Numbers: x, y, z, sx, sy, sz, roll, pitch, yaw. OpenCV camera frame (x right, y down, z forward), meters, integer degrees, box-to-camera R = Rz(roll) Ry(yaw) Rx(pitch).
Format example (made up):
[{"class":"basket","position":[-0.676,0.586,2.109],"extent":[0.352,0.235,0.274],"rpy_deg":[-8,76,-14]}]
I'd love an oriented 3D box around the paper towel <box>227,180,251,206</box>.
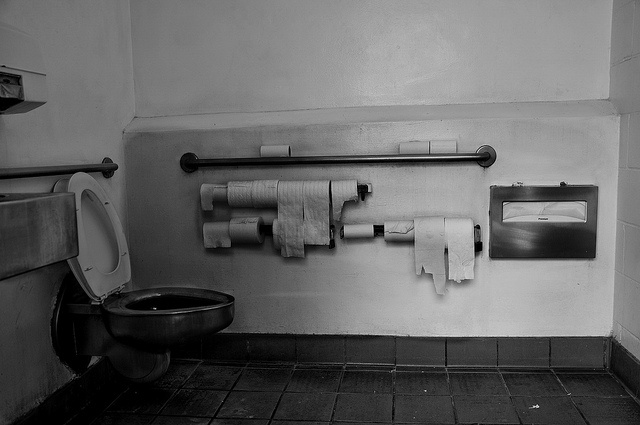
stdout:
[{"class":"paper towel","position":[-0.468,-0.104,3.283],"extent":[0.161,0.154,0.130],"rpy_deg":[1,-4,-2]}]

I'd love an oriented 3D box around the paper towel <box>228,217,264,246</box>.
[{"class":"paper towel","position":[-0.444,0.105,3.320],"extent":[0.182,0.159,0.154],"rpy_deg":[-3,18,10]}]

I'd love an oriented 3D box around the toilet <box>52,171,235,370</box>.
[{"class":"toilet","position":[-0.929,0.343,3.006],"extent":[0.909,1.079,0.758],"rpy_deg":[0,3,-1]}]

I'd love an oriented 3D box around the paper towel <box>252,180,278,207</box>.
[{"class":"paper towel","position":[-0.322,-0.128,3.290],"extent":[0.174,0.156,0.142],"rpy_deg":[3,28,2]}]

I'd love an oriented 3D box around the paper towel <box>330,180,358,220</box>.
[{"class":"paper towel","position":[0.129,-0.078,3.189],"extent":[0.165,0.242,0.196],"rpy_deg":[0,3,0]}]

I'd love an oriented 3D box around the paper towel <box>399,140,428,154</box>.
[{"class":"paper towel","position":[0.551,-0.379,3.171],"extent":[0.118,0.086,0.029],"rpy_deg":[1,-8,5]}]

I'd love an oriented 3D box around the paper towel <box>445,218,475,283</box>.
[{"class":"paper towel","position":[0.803,0.231,3.173],"extent":[0.164,0.388,0.084],"rpy_deg":[1,9,12]}]

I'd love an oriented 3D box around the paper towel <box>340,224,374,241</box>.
[{"class":"paper towel","position":[0.221,0.122,3.202],"extent":[0.163,0.068,0.081],"rpy_deg":[0,6,3]}]

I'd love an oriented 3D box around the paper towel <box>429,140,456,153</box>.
[{"class":"paper towel","position":[0.707,-0.380,3.158],"extent":[0.151,0.078,0.049],"rpy_deg":[0,9,0]}]

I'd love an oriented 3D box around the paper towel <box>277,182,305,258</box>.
[{"class":"paper towel","position":[-0.175,0.045,3.238],"extent":[0.160,0.437,0.057],"rpy_deg":[-1,8,-4]}]

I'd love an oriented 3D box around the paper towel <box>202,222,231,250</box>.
[{"class":"paper towel","position":[-0.619,0.123,3.338],"extent":[0.159,0.145,0.091],"rpy_deg":[-4,24,5]}]
